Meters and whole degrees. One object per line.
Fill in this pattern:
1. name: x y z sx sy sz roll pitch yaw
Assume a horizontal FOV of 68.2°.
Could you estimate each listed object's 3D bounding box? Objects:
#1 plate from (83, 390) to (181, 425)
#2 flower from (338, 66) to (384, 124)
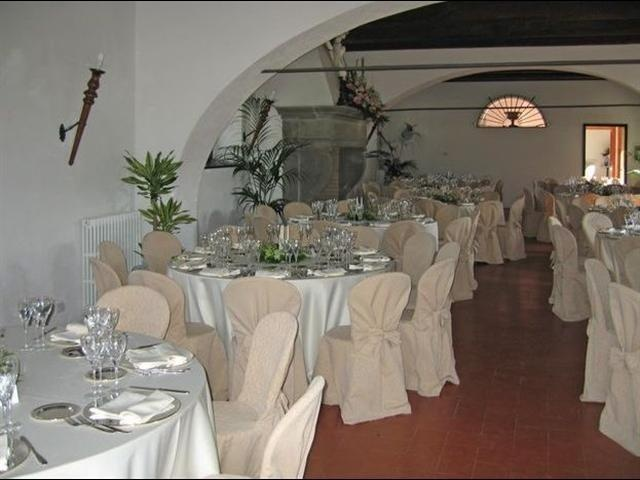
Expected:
1. plate: -0.766 0.685 1.941 0.352 0.038 0.231 -2 10 -6
2. flower: 0.776 -2.865 9.376 0.960 0.861 0.651 4 11 25
